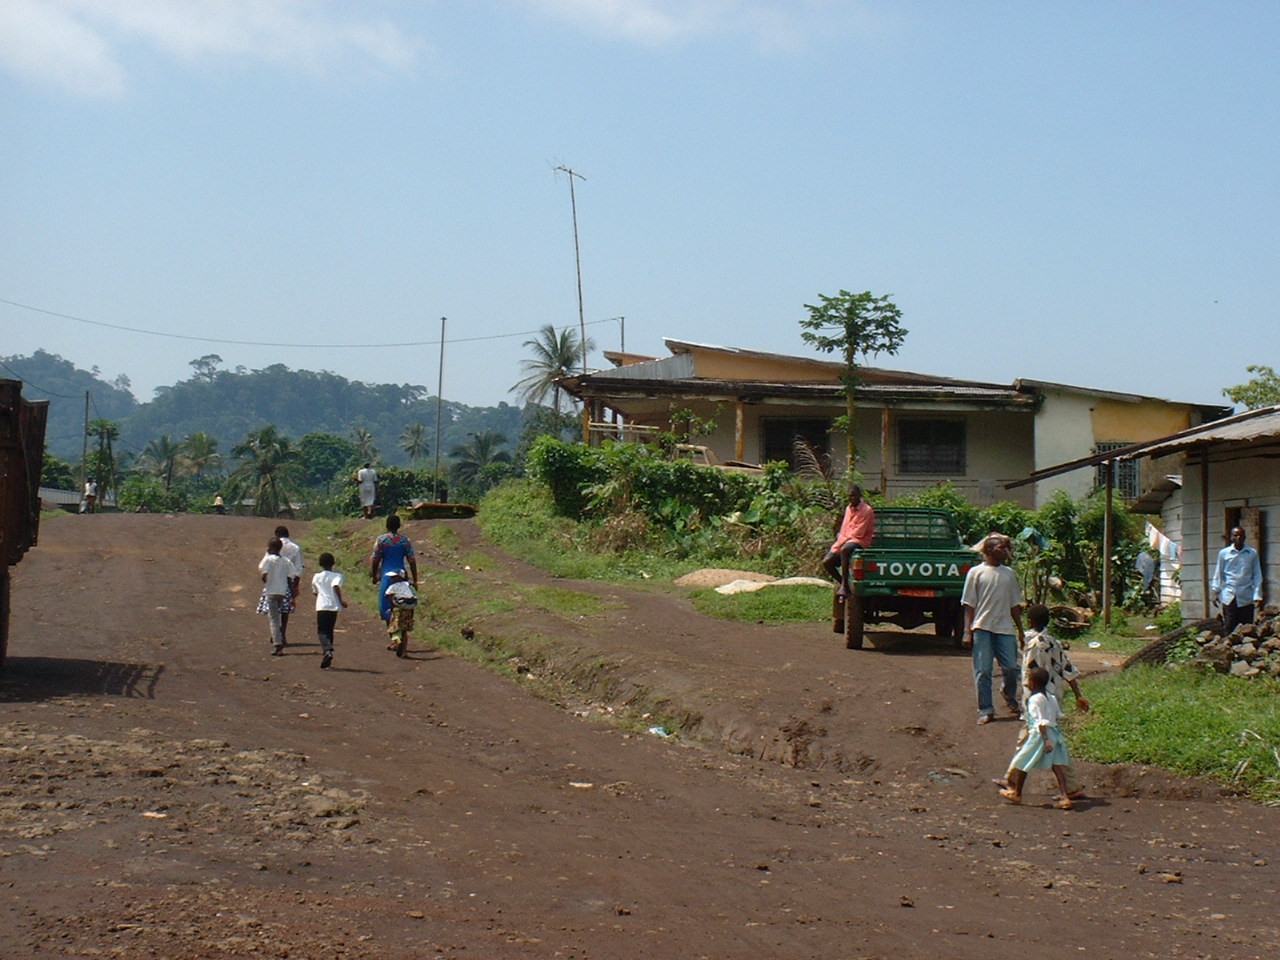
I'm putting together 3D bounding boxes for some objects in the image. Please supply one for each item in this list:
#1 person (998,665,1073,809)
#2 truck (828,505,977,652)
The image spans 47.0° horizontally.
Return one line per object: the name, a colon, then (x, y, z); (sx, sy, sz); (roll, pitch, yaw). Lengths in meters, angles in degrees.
person: (3.775, 2.355, 13.709); (0.671, 1.292, 0.652); (5, 7, 15)
truck: (3.481, 1.022, 19.935); (1.639, 1.310, 3.137); (6, -11, 29)
